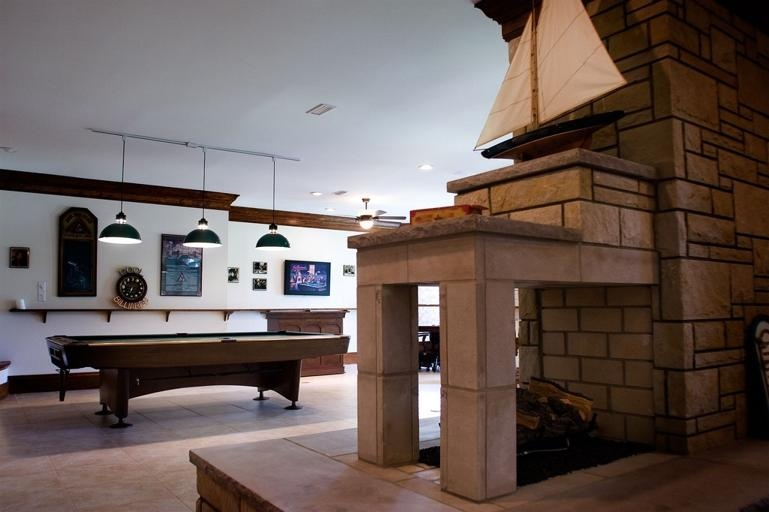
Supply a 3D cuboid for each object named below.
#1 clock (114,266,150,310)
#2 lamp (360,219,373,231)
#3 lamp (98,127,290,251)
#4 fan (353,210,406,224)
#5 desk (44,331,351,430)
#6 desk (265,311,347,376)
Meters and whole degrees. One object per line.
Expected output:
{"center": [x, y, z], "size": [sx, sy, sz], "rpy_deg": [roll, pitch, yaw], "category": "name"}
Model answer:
{"center": [-4.136, 0.517, 9.379], "size": [0.718, 0.763, 0.064], "rpy_deg": [5, -10, -32], "category": "clock"}
{"center": [-0.317, -0.531, 9.474], "size": [0.169, 0.100, 0.164], "rpy_deg": [2, -4, -38], "category": "lamp"}
{"center": [-2.597, -0.863, 8.247], "size": [3.162, 1.429, 0.652], "rpy_deg": [1, 5, -45], "category": "lamp"}
{"center": [-0.242, -0.641, 9.709], "size": [0.635, 0.136, 0.605], "rpy_deg": [-1, 2, -18], "category": "fan"}
{"center": [-2.353, 1.420, 7.039], "size": [2.967, 1.238, 1.529], "rpy_deg": [-3, 7, -29], "category": "desk"}
{"center": [-1.226, 1.611, 10.707], "size": [1.512, 1.228, 0.596], "rpy_deg": [-4, -5, 25], "category": "desk"}
